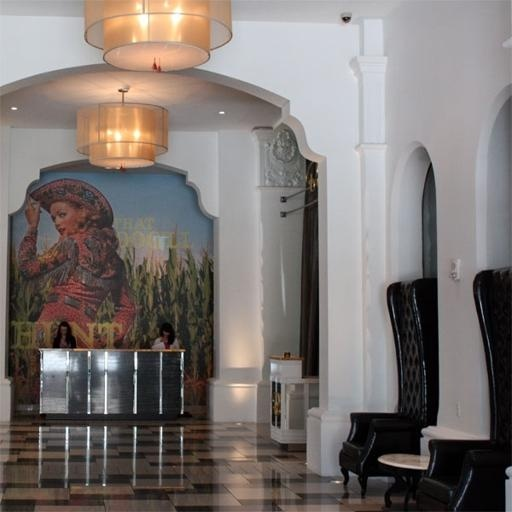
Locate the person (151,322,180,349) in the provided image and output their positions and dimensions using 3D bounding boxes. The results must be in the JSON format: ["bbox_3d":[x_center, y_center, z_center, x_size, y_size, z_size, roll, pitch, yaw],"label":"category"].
[{"bbox_3d":[-1.593,1.451,13.123,0.474,0.750,0.402,-2,-33,-3],"label":"person"}]
